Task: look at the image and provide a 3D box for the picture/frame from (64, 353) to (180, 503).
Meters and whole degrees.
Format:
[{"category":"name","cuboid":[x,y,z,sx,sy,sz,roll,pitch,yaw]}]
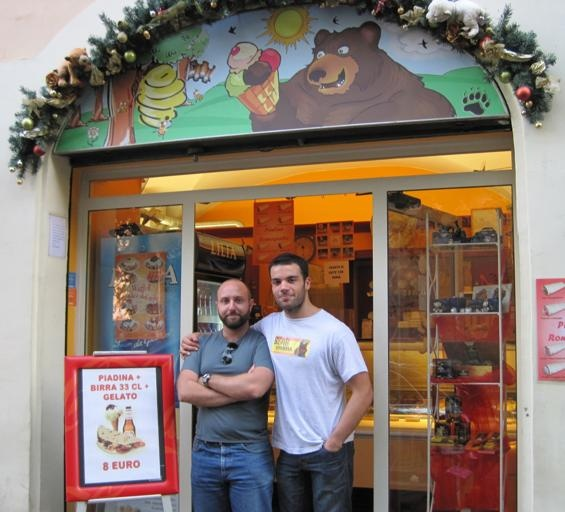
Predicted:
[{"category":"picture/frame","cuboid":[-0.935,0.980,4.461,0.646,0.820,0.137,1,-10,-15]}]
